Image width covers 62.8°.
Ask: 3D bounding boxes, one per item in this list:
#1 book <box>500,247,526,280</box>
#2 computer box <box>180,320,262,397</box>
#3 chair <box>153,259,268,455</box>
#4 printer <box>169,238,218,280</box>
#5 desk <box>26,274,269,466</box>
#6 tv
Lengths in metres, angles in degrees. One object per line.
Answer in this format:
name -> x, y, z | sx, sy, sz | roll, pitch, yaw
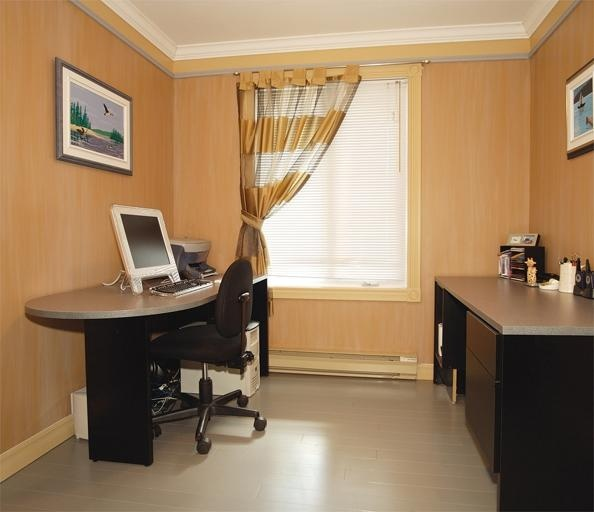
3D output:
book -> 1.562, 0.056, 3.574 | 0.165, 0.288, 0.301 | 2, -2, -1
computer box -> -0.493, 0.769, 3.738 | 0.673, 0.665, 0.400 | -1, 2, 10
chair -> -0.366, 0.614, 3.440 | 0.921, 1.449, 0.997 | 2, -2, 2
printer -> -0.770, 0.020, 3.615 | 0.244, 0.257, 0.361 | 10, 4, 10
desk -> -0.972, 0.584, 2.837 | 0.762, 0.854, 1.674 | 1, 5, 10
tv -> -0.996, -0.026, 3.137 | 0.129, 0.557, 0.572 | -10, 3, 17
